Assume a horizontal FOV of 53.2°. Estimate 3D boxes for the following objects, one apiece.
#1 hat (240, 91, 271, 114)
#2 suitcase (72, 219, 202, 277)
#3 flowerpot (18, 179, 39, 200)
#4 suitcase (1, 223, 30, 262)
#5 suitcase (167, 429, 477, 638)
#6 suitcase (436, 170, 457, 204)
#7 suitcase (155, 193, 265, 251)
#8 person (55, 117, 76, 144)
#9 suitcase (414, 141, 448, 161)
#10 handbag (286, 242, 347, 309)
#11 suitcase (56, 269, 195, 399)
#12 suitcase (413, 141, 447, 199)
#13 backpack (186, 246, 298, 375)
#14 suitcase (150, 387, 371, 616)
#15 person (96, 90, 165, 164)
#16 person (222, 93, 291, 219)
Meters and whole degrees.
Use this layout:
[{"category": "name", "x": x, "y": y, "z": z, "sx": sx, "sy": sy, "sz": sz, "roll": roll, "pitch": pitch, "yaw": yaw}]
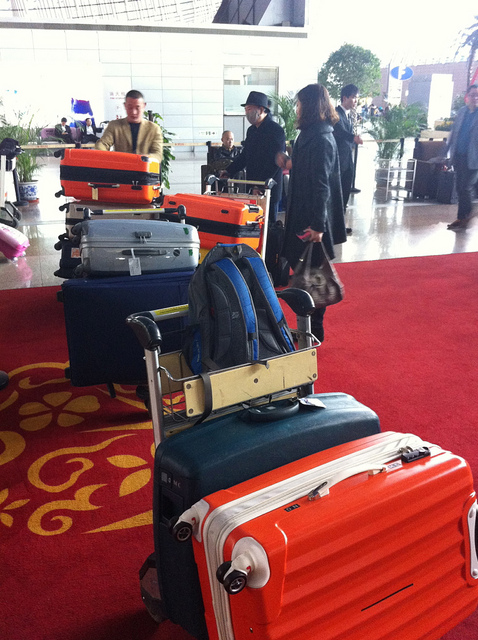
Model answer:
[{"category": "hat", "x": 0.142, "y": -1.812, "z": 3.980, "sx": 0.209, "sy": 0.104, "sz": 0.147, "roll": -2, "pitch": 32, "yaw": -26}, {"category": "suitcase", "x": -0.471, "y": -0.344, "z": 2.530, "sx": 0.927, "sy": 0.307, "sz": 0.610, "roll": 2, "pitch": 6, "yaw": 16}, {"category": "flowerpot", "x": -3.702, "y": -2.332, "z": 8.532, "sx": 0.365, "sy": 0.264, "sz": 0.355, "roll": 0, "pitch": 17, "yaw": 4}, {"category": "suitcase", "x": -2.098, "y": -0.739, "z": 4.449, "sx": 0.207, "sy": 0.306, "sz": 0.252, "roll": -2, "pitch": 19, "yaw": -9}, {"category": "suitcase", "x": 0.154, "y": 0.427, "z": 0.939, "sx": 0.435, "sy": 0.305, "sz": 0.178, "roll": -12, "pitch": 14, "yaw": -30}, {"category": "suitcase", "x": 3.741, "y": -2.415, "z": 8.614, "sx": 0.302, "sy": 0.476, "sz": 0.491, "roll": -4, "pitch": 26, "yaw": -3}, {"category": "suitcase", "x": -0.176, "y": -0.601, "z": 2.942, "sx": 0.619, "sy": 0.300, "sz": 0.364, "roll": 11, "pitch": 23, "yaw": -7}, {"category": "person", "x": -3.617, "y": -3.959, "z": 9.906, "sx": 0.378, "sy": 0.547, "sz": 1.338, "roll": -6, "pitch": 20, "yaw": -18}, {"category": "suitcase", "x": 3.600, "y": -3.217, "z": 9.037, "sx": 0.661, "sy": 0.348, "sz": 0.294, "roll": -11, "pitch": 22, "yaw": -31}, {"category": "handbag", "x": 0.422, "y": -0.276, "z": 2.730, "sx": 0.333, "sy": 0.404, "sz": 0.181, "roll": -7, "pitch": 16, "yaw": -32}, {"category": "suitcase", "x": -0.481, "y": 0.033, "z": 2.223, "sx": 0.661, "sy": 0.600, "sz": 0.218, "roll": -6, "pitch": 21, "yaw": -18}, {"category": "suitcase", "x": 3.517, "y": -2.820, "z": 8.971, "sx": 0.570, "sy": 1.043, "sz": 0.665, "roll": 7, "pitch": 20, "yaw": 17}, {"category": "backpack", "x": 0.042, "y": -0.029, "z": 1.417, "sx": 0.365, "sy": 0.352, "sz": 0.262, "roll": -10, "pitch": 22, "yaw": -29}, {"category": "suitcase", "x": 0.027, "y": 0.438, "z": 1.145, "sx": 0.450, "sy": 0.392, "sz": 0.155, "roll": -5, "pitch": 7, "yaw": -41}, {"category": "person", "x": -0.898, "y": -1.486, "z": 3.981, "sx": 0.552, "sy": 0.763, "sz": 0.420, "roll": -1, "pitch": 19, "yaw": -4}, {"category": "person", "x": 0.228, "y": -1.318, "z": 4.150, "sx": 0.476, "sy": 1.201, "sz": 0.438, "roll": -9, "pitch": 4, "yaw": 30}]
